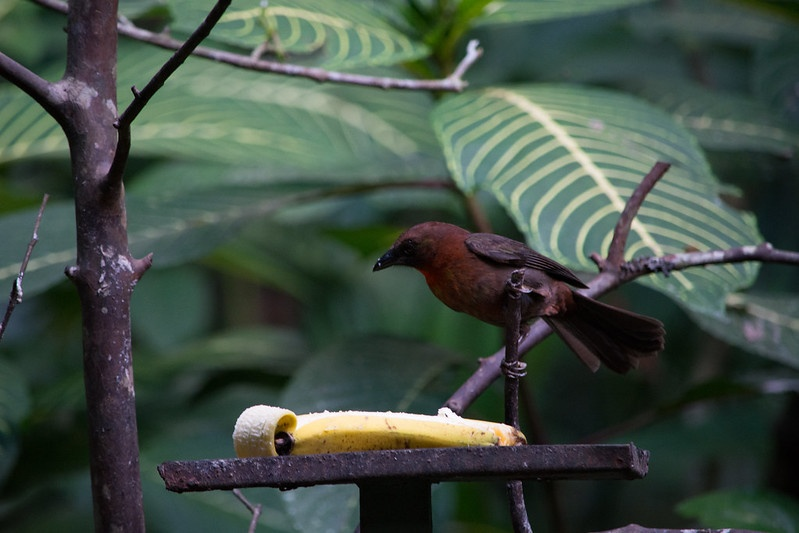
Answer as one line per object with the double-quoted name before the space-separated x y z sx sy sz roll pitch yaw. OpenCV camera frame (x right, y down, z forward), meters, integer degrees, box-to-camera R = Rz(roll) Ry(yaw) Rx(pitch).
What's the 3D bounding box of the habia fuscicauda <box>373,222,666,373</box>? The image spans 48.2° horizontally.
"habia fuscicauda" 0.452 0.096 3.221 1.185 0.455 0.430 1 -8 3
